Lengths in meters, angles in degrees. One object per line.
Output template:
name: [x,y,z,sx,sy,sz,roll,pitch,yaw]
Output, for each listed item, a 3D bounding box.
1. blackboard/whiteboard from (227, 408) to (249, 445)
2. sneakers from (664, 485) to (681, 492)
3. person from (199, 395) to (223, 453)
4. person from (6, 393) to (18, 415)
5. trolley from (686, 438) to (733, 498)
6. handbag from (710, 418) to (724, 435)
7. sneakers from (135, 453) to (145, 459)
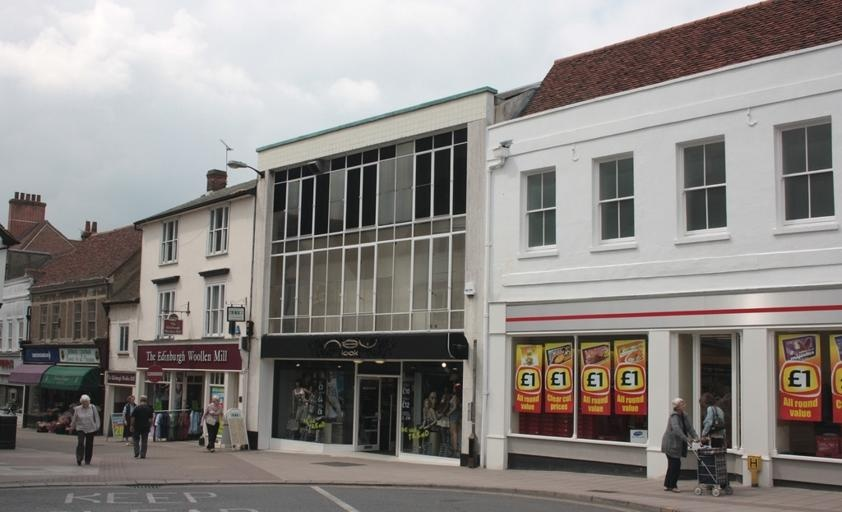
blackboard/whiteboard: [-7.493,7.263,39.019,0.832,1.714,0.629,-8,8,21]
sneakers: [7.379,6.848,27.027,0.446,0.261,0.145,-3,-8,20]
person: [-8.474,6.940,37.932,0.656,2.216,1.217,3,-14,-12]
person: [-24.343,8.736,55.393,0.647,1.420,2.136,6,-14,-23]
trolley: [8.359,6.131,26.584,1.029,1.548,0.619,-4,-14,17]
handbag: [8.749,5.057,27.223,0.412,0.433,0.112,2,-14,-7]
sneakers: [-10.357,7.460,34.340,0.248,0.216,0.081,4,-7,16]
